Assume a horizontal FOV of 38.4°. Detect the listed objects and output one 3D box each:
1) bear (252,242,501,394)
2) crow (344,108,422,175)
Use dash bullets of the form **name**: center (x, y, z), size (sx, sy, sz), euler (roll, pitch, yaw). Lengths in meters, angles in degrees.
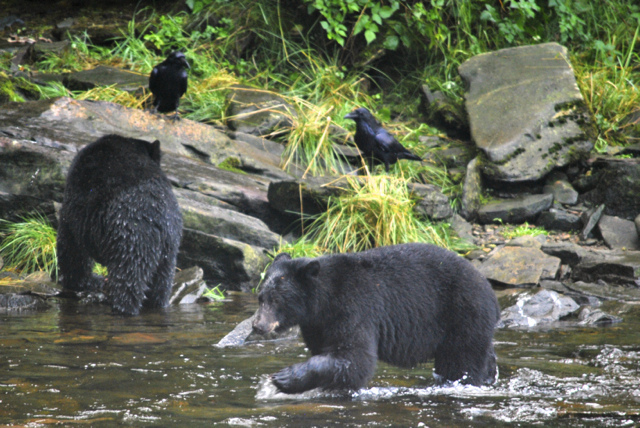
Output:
- **bear**: center (0.784, 1.380, 12.334), size (3.282, 2.039, 1.589), euler (-1, 5, -16)
- **crow**: center (1.138, -1.283, 16.556), size (1.602, 1.188, 0.754), euler (-1, 2, -30)
